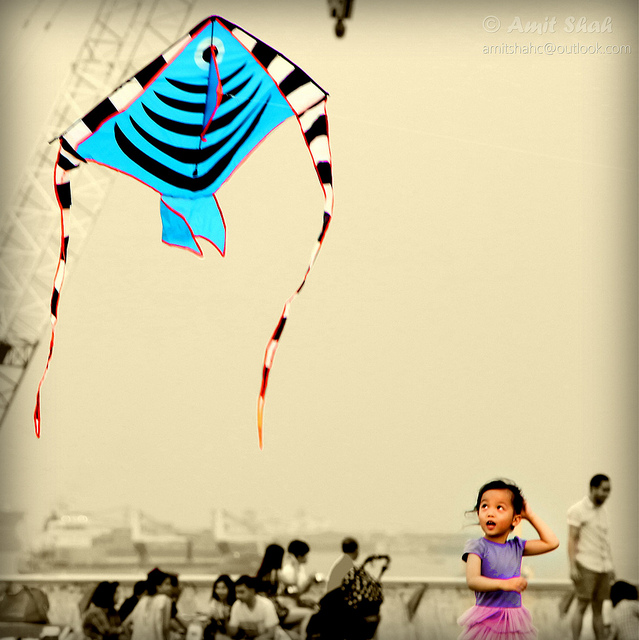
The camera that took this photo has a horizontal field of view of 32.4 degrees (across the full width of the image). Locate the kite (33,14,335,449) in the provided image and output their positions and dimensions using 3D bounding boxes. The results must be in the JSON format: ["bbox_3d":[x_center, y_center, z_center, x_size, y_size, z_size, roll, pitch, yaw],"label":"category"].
[{"bbox_3d":[-0.657,-0.511,5.774,1.638,2.773,0.325,-3,-25,10],"label":"kite"}]

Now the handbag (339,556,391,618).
[{"bbox_3d":[0.219,1.306,5.293,0.067,0.205,0.359,-11,-39,-14],"label":"handbag"}]

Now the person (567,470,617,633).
[{"bbox_3d":[1.560,1.313,6.288,0.292,0.932,0.252,1,-12,11],"label":"person"}]
